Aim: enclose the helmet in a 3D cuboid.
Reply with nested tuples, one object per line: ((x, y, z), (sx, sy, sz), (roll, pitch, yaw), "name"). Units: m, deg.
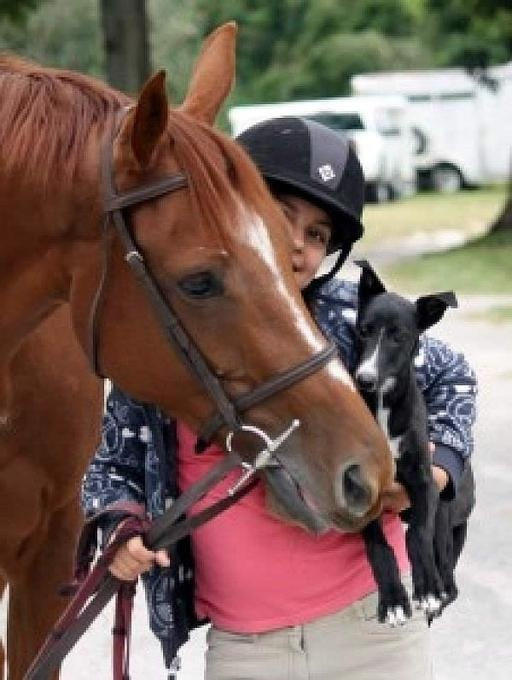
((0.141, -0.437, 3.789), (0.265, 0.185, 0.361), (30, 2, -44), "helmet")
